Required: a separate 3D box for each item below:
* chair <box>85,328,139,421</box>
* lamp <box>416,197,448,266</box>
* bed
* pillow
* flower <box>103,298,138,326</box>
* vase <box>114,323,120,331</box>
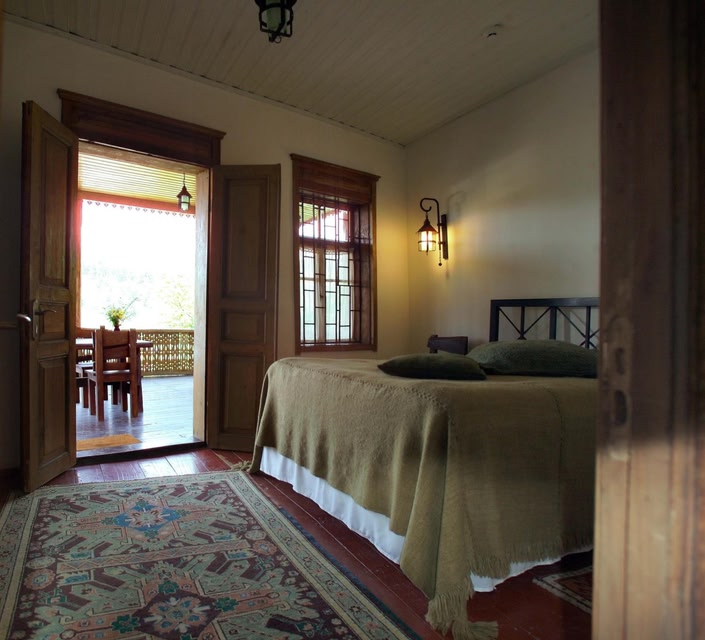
[{"bbox_3d":[-2.181,0.467,5.372,0.393,0.818,0.467,-1,7,-27],"label":"chair"},{"bbox_3d":[0.688,-0.746,5.042,0.218,0.592,0.141,-2,6,1],"label":"lamp"},{"bbox_3d":[0.251,0.331,2.245,0.868,0.378,0.905,-1,4,-30],"label":"bed"},{"bbox_3d":[0.637,0.188,2.654,0.628,0.123,0.409,3,-6,-29],"label":"pillow"},{"bbox_3d":[-3.721,-0.133,9.435,0.358,0.621,0.531,1,1,12],"label":"flower"},{"bbox_3d":[-2.245,0.069,5.619,0.050,0.055,0.054,5,-5,-21],"label":"vase"}]
